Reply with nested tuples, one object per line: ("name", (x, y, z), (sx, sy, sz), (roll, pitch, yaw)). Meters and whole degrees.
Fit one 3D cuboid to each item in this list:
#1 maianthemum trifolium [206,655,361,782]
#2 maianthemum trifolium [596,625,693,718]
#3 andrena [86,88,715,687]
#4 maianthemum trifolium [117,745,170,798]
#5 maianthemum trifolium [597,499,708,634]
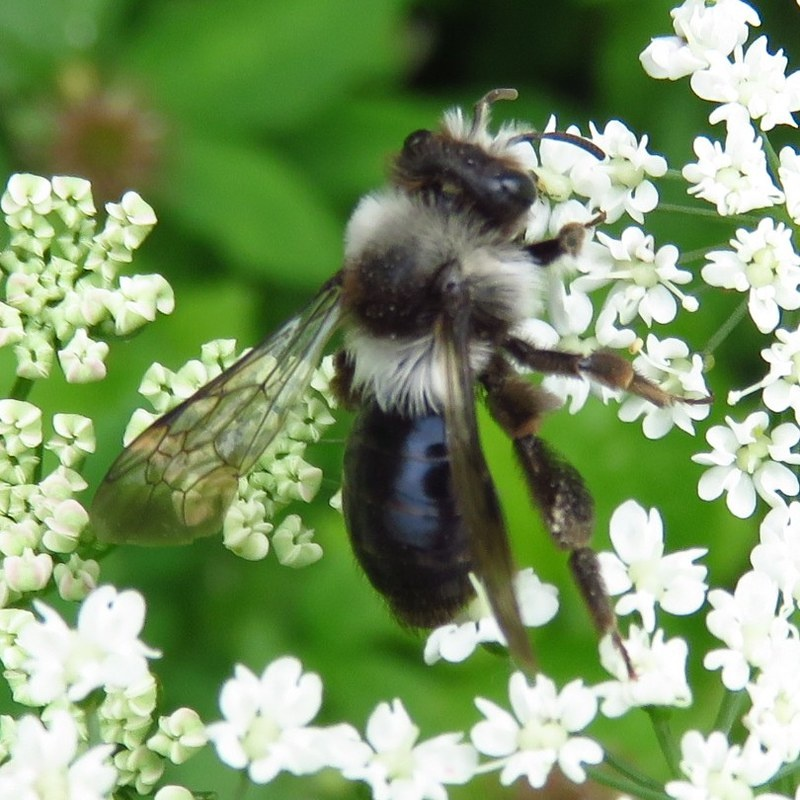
("maianthemum trifolium", (-0.382, 0.989, 3.600), (0.377, 0.378, 0.114), (-38, -16, -25))
("maianthemum trifolium", (0.781, 0.878, 3.784), (0.299, 0.255, 0.286), (-12, 15, 14))
("andrena", (0.033, -0.093, 4.186), (1.547, 2.258, 0.697), (12, -4, 21))
("maianthemum trifolium", (-0.841, 1.183, 3.806), (0.160, 0.187, 0.054), (-19, 13, -27))
("maianthemum trifolium", (0.828, 0.551, 3.887), (0.321, 0.400, 0.185), (4, -19, 29))
